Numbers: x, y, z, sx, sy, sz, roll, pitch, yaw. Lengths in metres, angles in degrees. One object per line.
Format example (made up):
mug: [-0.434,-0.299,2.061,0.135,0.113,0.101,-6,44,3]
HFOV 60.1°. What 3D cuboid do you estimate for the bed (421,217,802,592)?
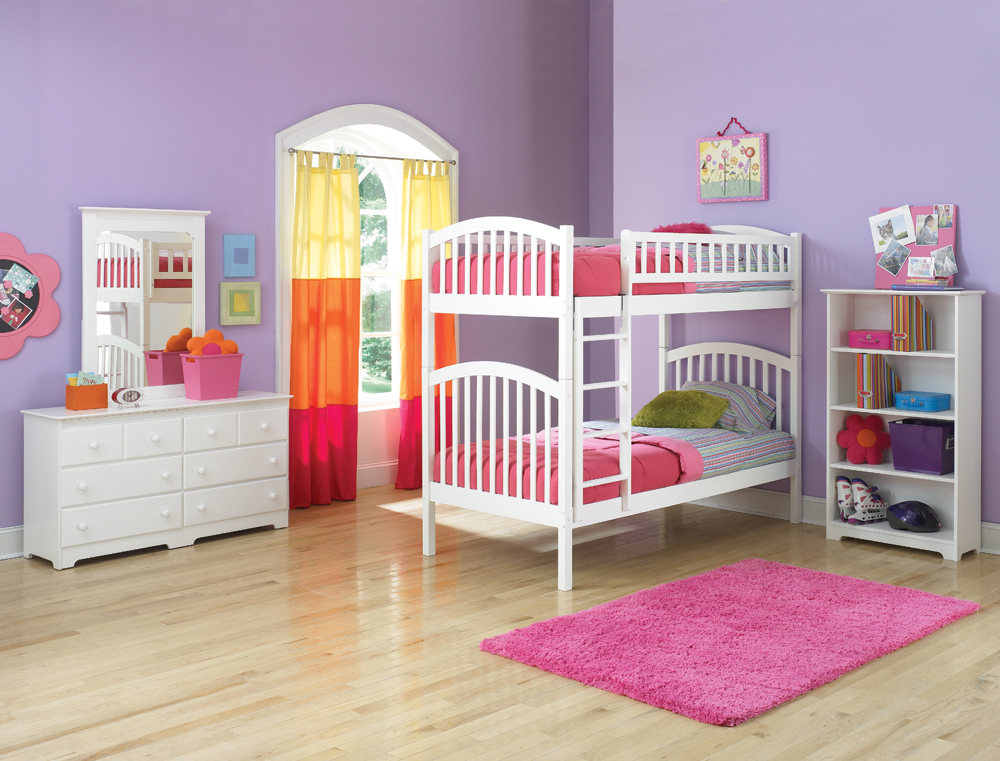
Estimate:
bed: [0.435,-0.028,5.340,2.299,1.835,1.943,-6,9,-40]

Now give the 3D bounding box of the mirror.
mirror: [-2.079,-0.473,5.048,0.144,1.011,0.700,5,9,40]

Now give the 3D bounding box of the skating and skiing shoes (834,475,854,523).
skating and skiing shoes: [1.996,0.694,4.997,0.086,0.240,0.109,3,8,34]

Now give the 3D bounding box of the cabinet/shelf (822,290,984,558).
cabinet/shelf: [2.260,0.215,4.826,0.848,1.425,0.401,6,10,43]

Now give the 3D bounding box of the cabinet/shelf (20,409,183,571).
cabinet/shelf: [-2.149,0.581,4.576,0.405,0.696,0.872,1,2,44]

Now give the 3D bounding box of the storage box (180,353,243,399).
storage box: [-1.661,-0.016,5.046,0.249,0.276,0.407,0,0,40]

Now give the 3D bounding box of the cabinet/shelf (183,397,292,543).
cabinet/shelf: [-1.546,0.512,4.988,0.451,0.782,0.866,0,2,41]

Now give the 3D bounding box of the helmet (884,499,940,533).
helmet: [2.293,0.747,4.794,0.161,0.108,0.216,-4,16,-35]

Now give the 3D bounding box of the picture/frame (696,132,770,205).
picture/frame: [1.517,-1.353,5.536,0.528,0.435,0.072,3,3,45]
